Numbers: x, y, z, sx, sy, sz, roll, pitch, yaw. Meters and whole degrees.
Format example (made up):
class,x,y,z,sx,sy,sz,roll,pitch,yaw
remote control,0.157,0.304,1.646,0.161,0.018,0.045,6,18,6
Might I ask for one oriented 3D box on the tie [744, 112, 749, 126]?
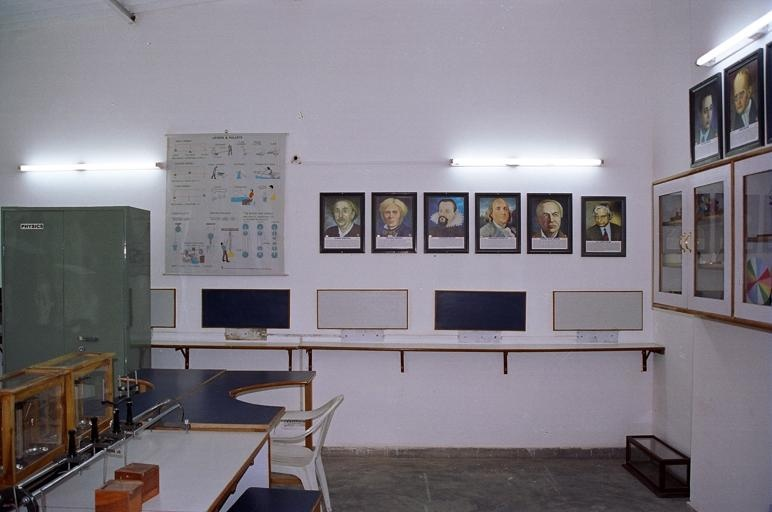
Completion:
class,x,y,z,sx,sy,sz,roll,pitch,yaw
tie,3.172,-1.213,5.651,0.002,0.129,0.064,-1,-1,-28

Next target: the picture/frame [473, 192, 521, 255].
class,x,y,z,sx,sy,sz,roll,pitch,yaw
picture/frame,1.184,-0.376,6.796,0.614,0.818,0.054,0,-1,-3

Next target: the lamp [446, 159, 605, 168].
class,x,y,z,sx,sy,sz,roll,pitch,yaw
lamp,1.491,-0.988,6.768,1.635,0.094,0.116,-2,-1,-1

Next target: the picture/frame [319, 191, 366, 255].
class,x,y,z,sx,sy,sz,roll,pitch,yaw
picture/frame,-0.456,-0.373,6.834,0.626,0.860,0.042,0,-1,0

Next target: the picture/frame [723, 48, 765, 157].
class,x,y,z,sx,sy,sz,roll,pitch,yaw
picture/frame,3.171,-1.358,5.680,0.054,1.010,0.381,-1,-1,-23

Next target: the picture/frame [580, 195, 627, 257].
class,x,y,z,sx,sy,sz,roll,pitch,yaw
picture/frame,2.311,-0.332,6.787,0.614,0.881,0.061,0,-2,0

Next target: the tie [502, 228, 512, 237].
class,x,y,z,sx,sy,sz,roll,pitch,yaw
tie,1.291,-0.249,6.798,0.096,0.091,0.005,-2,-1,-1

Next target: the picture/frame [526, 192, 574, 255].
class,x,y,z,sx,sy,sz,roll,pitch,yaw
picture/frame,1.744,-0.378,6.790,0.618,0.855,0.062,0,-2,-1

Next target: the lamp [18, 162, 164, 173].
class,x,y,z,sx,sy,sz,roll,pitch,yaw
lamp,-3.197,-0.967,6.899,1.651,0.082,0.134,-2,-1,4

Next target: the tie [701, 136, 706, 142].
class,x,y,z,sx,sy,sz,roll,pitch,yaw
tie,2.997,-1.112,6.059,0.015,0.065,0.034,0,5,-44
